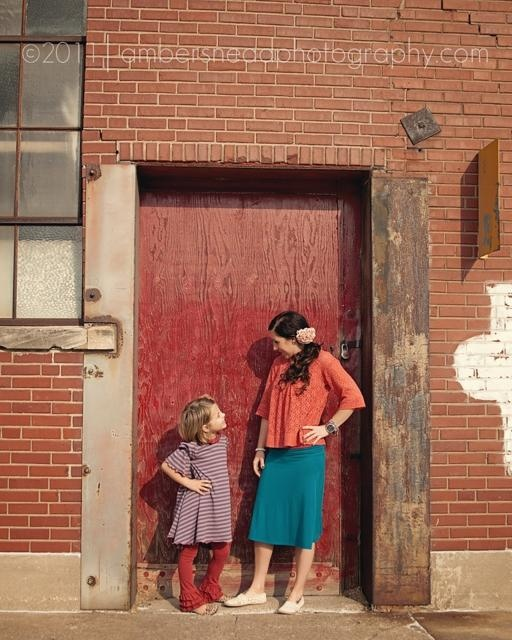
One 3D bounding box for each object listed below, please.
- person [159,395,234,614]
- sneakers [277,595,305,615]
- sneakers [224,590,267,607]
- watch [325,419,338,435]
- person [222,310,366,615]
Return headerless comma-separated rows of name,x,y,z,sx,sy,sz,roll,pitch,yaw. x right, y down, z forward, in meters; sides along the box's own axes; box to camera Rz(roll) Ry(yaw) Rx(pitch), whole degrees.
person,-0.361,1.144,8.855,0.443,1.330,0.326,2,-6,-5
sneakers,0.257,1.782,8.938,0.115,0.103,0.261,-3,-9,35
sneakers,-0.058,1.726,8.943,0.257,0.111,0.106,5,-10,-10
watch,0.481,0.666,8.889,0.072,0.083,0.116,1,-7,11
person,0.302,0.890,8.911,0.635,1.861,0.318,2,-6,-2
